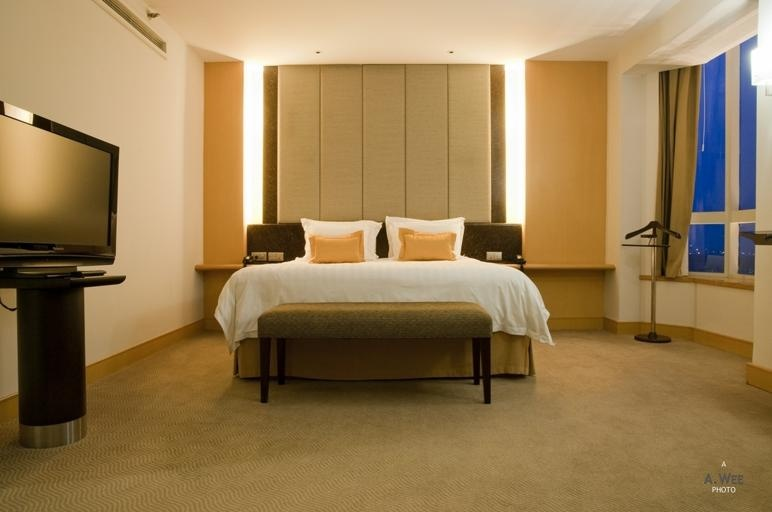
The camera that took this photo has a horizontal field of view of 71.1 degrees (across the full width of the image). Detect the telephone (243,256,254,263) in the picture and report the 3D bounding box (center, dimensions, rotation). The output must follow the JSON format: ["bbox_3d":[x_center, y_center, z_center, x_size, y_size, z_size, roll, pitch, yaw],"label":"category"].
[{"bbox_3d":[-1.592,0.034,6.254,0.081,0.067,0.079,1,-5,-14],"label":"telephone"}]

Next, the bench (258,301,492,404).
[{"bbox_3d":[-0.084,0.760,4.419,1.803,0.707,0.661,-1,3,4],"label":"bench"}]
